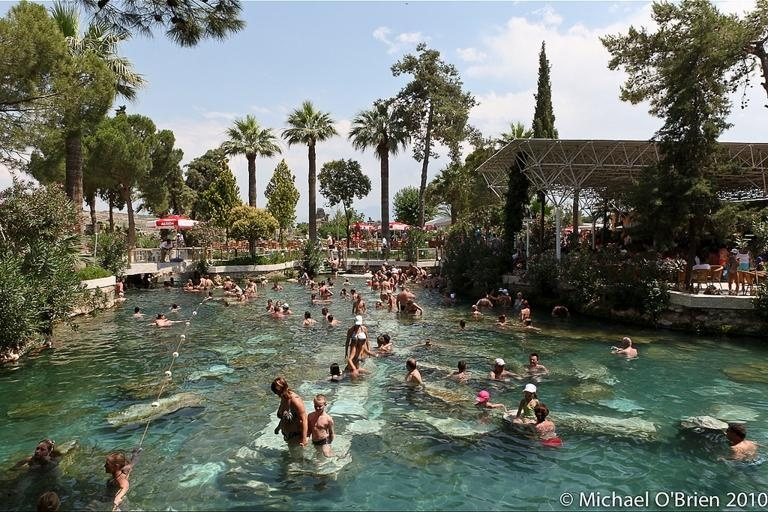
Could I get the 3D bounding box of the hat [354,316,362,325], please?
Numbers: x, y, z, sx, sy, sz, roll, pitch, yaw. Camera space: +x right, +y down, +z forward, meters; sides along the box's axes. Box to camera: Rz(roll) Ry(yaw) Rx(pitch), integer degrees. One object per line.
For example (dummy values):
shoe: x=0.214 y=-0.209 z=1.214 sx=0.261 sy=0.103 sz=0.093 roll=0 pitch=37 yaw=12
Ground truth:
hat: x=-0.879 y=2.270 z=18.471 sx=0.322 sy=0.250 sz=0.479 roll=3 pitch=0 yaw=-4

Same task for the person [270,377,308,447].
person: x=-2.465 y=4.062 z=13.843 sx=0.907 sy=1.778 sz=0.652 roll=-1 pitch=8 yaw=-4

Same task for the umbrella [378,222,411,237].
umbrella: x=0.939 y=-2.482 z=48.914 sx=2.781 sy=0.864 sz=2.635 roll=0 pitch=1 yaw=6

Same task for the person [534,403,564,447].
person: x=4.542 y=4.589 z=14.431 sx=0.712 sy=0.861 sz=1.054 roll=1 pitch=8 yaw=10

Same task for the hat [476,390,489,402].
hat: x=3.049 y=4.234 z=15.736 sx=0.276 sy=0.211 sz=0.389 roll=2 pitch=-4 yaw=34

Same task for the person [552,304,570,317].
person: x=8.658 y=2.656 z=25.477 sx=0.840 sy=0.412 sz=1.012 roll=2 pitch=8 yaw=18

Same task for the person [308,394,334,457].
person: x=-1.643 y=4.407 z=13.715 sx=0.682 sy=1.480 sz=0.702 roll=-2 pitch=8 yaw=-8

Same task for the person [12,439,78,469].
person: x=-8.684 y=5.137 z=13.665 sx=0.734 sy=0.362 sz=0.922 roll=-3 pitch=-6 yaw=14

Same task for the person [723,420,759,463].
person: x=9.546 y=5.005 z=13.905 sx=0.820 sy=0.982 sz=1.072 roll=9 pitch=11 yaw=40

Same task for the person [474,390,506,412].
person: x=3.208 y=4.288 z=15.616 sx=0.889 sy=0.449 sz=0.604 roll=1 pitch=8 yaw=11

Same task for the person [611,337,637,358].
person: x=9.115 y=3.458 z=19.614 sx=0.666 sy=0.878 sz=0.922 roll=3 pitch=-7 yaw=-37
